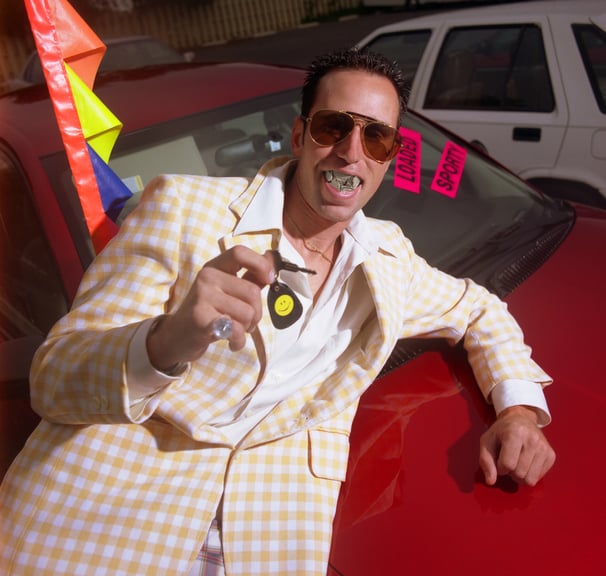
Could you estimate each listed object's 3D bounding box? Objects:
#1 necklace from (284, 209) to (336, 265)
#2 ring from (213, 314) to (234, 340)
[{"bbox_3d":[0.027,-0.145,1.441,0.130,0.095,0.047,48,53,-11],"label":"necklace"},{"bbox_3d":[-0.129,0.064,0.790,0.034,0.008,0.032,3,82,-24],"label":"ring"}]
